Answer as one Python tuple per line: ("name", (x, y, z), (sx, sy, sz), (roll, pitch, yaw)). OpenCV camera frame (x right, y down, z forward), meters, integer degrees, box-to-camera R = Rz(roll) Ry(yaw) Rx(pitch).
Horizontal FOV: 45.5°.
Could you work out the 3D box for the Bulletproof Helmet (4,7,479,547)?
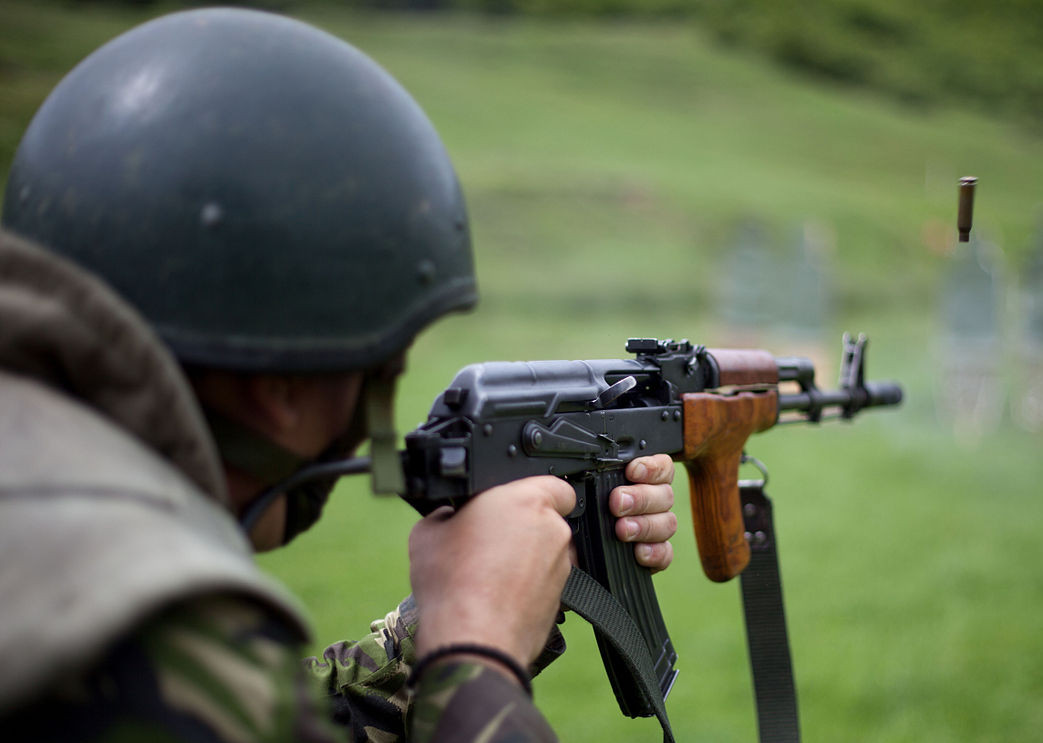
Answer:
("Bulletproof Helmet", (-0.382, -0.210, 1.994), (0.644, 0.556, 0.772), (-9, 103, -41))
